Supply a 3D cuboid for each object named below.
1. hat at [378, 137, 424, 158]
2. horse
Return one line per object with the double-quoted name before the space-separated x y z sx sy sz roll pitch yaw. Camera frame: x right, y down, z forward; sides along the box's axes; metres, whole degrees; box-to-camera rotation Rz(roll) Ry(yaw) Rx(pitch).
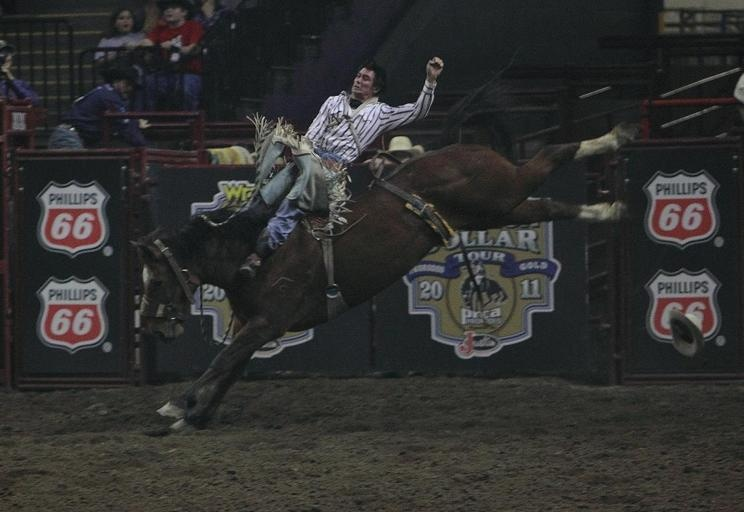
"hat" 0.322 -1.238 17.726 0.588 0.164 0.554 0 -3 -1
"horse" 0.160 0.194 16.382 6.625 2.189 1.280 -27 10 -2
